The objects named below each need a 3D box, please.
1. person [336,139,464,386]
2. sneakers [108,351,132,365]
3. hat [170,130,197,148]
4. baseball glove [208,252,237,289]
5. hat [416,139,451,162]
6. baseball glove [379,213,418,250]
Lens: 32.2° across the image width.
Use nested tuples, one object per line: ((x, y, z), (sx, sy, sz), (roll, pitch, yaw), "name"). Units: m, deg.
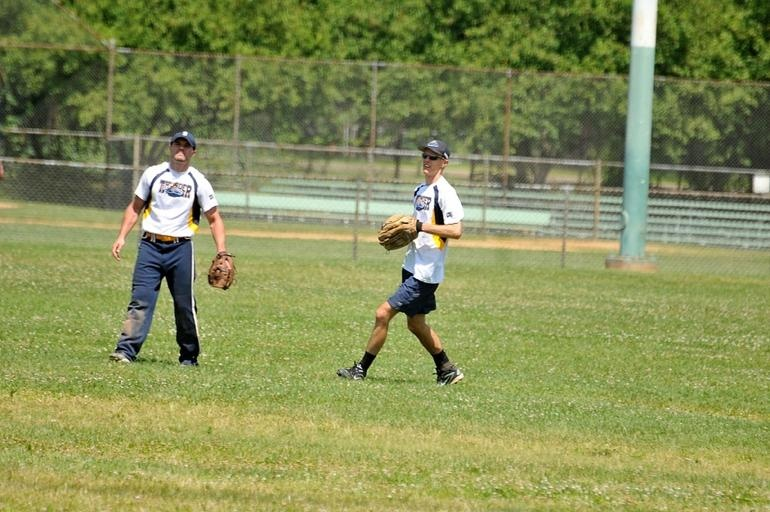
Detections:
((0.547, 0.111, 21.695), (1.343, 3.979, 1.088), (6, 5, 34), "person")
((-4.294, 1.687, 21.658), (0.324, 0.144, 0.163), (30, -28, -28), "sneakers")
((-3.281, -1.901, 21.850), (0.388, 0.278, 0.264), (2, 4, -12), "hat")
((-2.688, 0.264, 22.410), (0.499, 0.588, 0.270), (3, -5, 6), "baseball glove")
((0.928, -1.637, 21.766), (0.584, 0.276, 0.398), (18, 4, -17), "hat")
((0.214, -0.331, 21.676), (0.655, 0.456, 0.490), (-28, 49, -18), "baseball glove")
